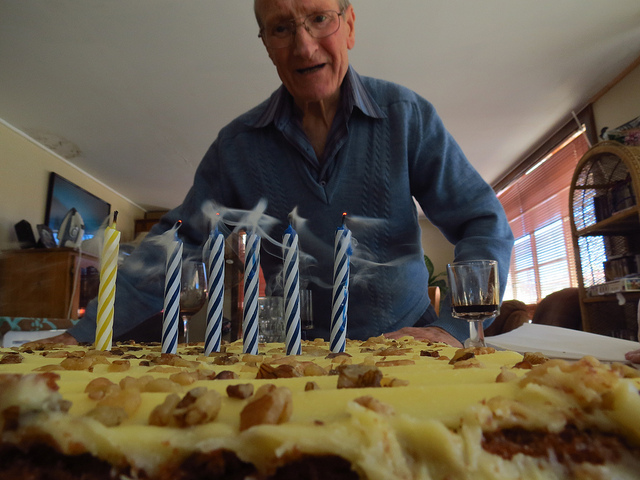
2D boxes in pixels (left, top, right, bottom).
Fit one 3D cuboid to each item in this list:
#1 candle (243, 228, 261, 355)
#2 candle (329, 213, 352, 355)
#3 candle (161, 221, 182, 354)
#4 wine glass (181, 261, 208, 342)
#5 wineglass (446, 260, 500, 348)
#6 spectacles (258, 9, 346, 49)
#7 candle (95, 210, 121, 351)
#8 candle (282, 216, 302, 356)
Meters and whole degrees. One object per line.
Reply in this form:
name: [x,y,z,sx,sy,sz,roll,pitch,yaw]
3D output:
candle: [-0.160,0.114,0.978,0.040,0.292,0.202,-1,-1,-9]
candle: [0.050,0.099,0.974,0.045,0.316,0.152,-1,-1,8]
candle: [-0.352,0.129,0.997,0.042,0.292,0.168,-1,-2,-20]
wine glass: [-0.355,0.178,1.185,0.069,0.237,0.184,-1,-2,-17]
wineglass: [0.393,0.166,1.066,0.144,0.228,0.155,-2,-4,-5]
spectacles: [-0.052,-0.672,1.325,0.249,0.123,0.085,-2,-1,5]
candle: [-0.530,0.108,1.047,0.052,0.350,0.234,0,-2,-26]
candle: [-0.063,0.104,0.947,0.036,0.285,0.172,-1,-1,-4]
